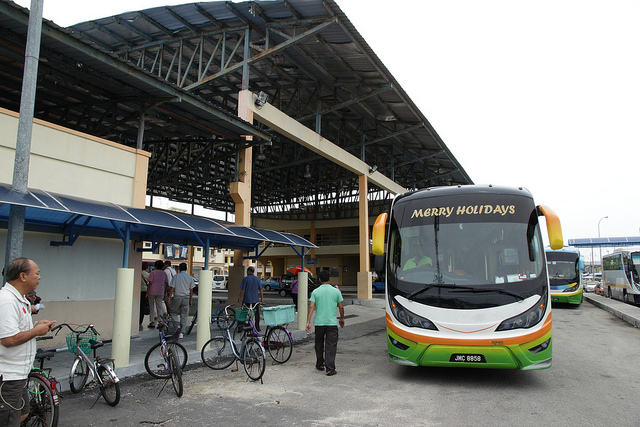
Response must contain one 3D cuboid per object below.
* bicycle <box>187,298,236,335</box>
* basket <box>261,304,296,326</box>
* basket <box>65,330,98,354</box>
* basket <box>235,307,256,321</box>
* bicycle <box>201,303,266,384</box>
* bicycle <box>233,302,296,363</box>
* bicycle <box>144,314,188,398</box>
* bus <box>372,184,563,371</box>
[{"bbox_3d":[-3.279,2.992,13.260,1.712,0.942,0.960,8,-6,-38],"label":"bicycle"},{"bbox_3d":[-1.069,2.646,11.625,0.582,0.355,0.734,-4,-4,28],"label":"basket"},{"bbox_3d":[-4.641,2.535,8.722,0.616,0.441,0.263,-6,-8,18],"label":"basket"},{"bbox_3d":[-1.986,2.677,11.835,0.410,0.240,0.312,4,-8,2],"label":"basket"},{"bbox_3d":[-1.979,3.396,11.406,2.169,1.261,1.113,-2,-6,35],"label":"bicycle"},{"bbox_3d":[-1.577,3.229,12.181,2.546,1.409,1.000,-9,-14,42],"label":"bicycle"},{"bbox_3d":[-3.560,3.229,10.464,1.144,1.363,2.519,2,-11,-11],"label":"bicycle"},{"bbox_3d":[3.246,1.363,10.111,3.498,4.140,1.286,-6,-7,15],"label":"bus"}]
